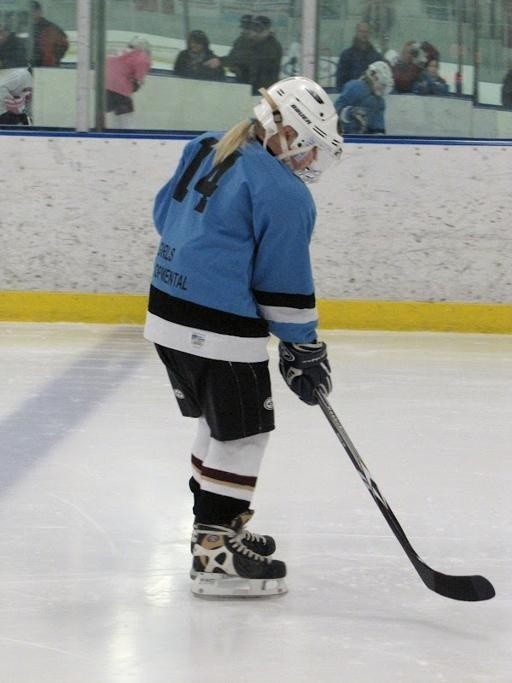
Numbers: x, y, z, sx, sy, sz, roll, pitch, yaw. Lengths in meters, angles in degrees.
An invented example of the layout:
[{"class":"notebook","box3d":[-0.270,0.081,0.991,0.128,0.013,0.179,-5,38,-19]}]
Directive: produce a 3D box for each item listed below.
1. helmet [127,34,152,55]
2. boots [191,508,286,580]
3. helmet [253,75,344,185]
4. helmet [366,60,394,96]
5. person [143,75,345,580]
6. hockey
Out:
[{"class":"helmet","box3d":[-0.738,-1.875,5.321,0.140,0.106,0.096,20,-6,30]},{"class":"boots","box3d":[-0.033,0.446,1.864,0.177,0.097,0.180,1,-1,-7]},{"class":"helmet","box3d":[0.089,-0.460,1.822,0.190,0.216,0.123,0,9,-20]},{"class":"helmet","box3d":[0.794,-1.660,5.321,0.177,0.168,0.204,3,3,19]},{"class":"person","box3d":[-0.035,-0.020,1.846,0.425,1.106,0.317,3,9,-2]},{"class":"hockey","box3d":[0.305,0.333,1.983,0.117,0.066,0.798,-35,37,0]}]
